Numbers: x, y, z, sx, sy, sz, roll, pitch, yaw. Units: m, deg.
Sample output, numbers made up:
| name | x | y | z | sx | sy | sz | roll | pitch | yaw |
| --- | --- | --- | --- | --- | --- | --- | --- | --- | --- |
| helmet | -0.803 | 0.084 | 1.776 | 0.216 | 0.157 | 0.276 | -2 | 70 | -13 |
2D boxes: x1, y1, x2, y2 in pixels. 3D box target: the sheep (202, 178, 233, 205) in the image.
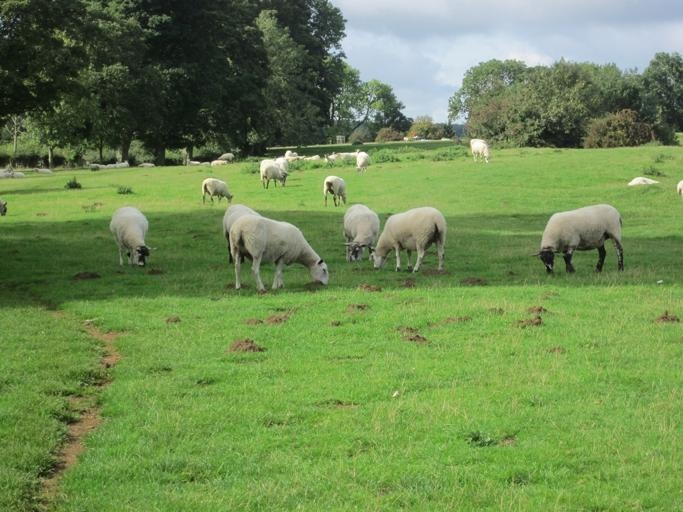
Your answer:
| name | x | y | z | sx | sy | sz | roll | pitch | yaw |
| --- | --- | --- | --- | --- | --- | --- | --- | --- | --- |
| sheep | -7.522 | -3.972 | 59.721 | 1.803 | 1.643 | 2.909 | -1 | 14 | -7 |

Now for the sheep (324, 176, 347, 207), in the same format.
| name | x | y | z | sx | sy | sz | roll | pitch | yaw |
| --- | --- | --- | --- | --- | --- | --- | --- | --- | --- |
| sheep | -0.439 | -3.882 | 58.357 | 1.294 | 1.797 | 3.145 | 0 | 14 | -2 |

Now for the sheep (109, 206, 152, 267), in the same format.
| name | x | y | z | sx | sy | sz | roll | pitch | yaw |
| --- | --- | --- | --- | --- | --- | --- | --- | --- | --- |
| sheep | -9.168 | -0.800 | 43.088 | 1.529 | 2.021 | 2.874 | -4 | 14 | -16 |

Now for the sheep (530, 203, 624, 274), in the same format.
| name | x | y | z | sx | sy | sz | roll | pitch | yaw |
| --- | --- | --- | --- | --- | --- | --- | --- | --- | --- |
| sheep | 9.792 | -0.480 | 41.078 | 3.840 | 2.934 | 1.737 | -10 | 10 | -12 |

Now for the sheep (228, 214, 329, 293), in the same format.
| name | x | y | z | sx | sy | sz | roll | pitch | yaw |
| --- | --- | --- | --- | --- | --- | --- | --- | --- | --- |
| sheep | -2.619 | -0.356 | 40.622 | 4.794 | 3.494 | 2.034 | -1 | 4 | -34 |
